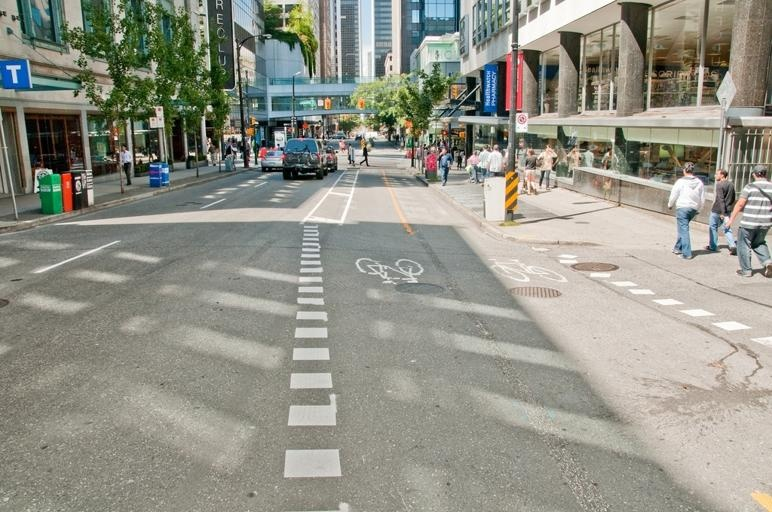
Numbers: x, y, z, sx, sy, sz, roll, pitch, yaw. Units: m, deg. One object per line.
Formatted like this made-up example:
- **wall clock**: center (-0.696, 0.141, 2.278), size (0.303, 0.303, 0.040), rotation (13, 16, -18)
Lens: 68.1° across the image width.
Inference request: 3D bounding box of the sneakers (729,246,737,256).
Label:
- **sneakers**: center (9.707, -0.124, 15.952), size (0.236, 0.231, 0.290), rotation (-1, -2, 11)

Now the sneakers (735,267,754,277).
- **sneakers**: center (8.711, 0.448, 13.865), size (0.170, 0.188, 0.408), rotation (-14, 18, -11)

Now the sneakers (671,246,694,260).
- **sneakers**: center (8.210, -0.032, 15.762), size (0.229, 0.301, 0.690), rotation (-4, 5, -4)
